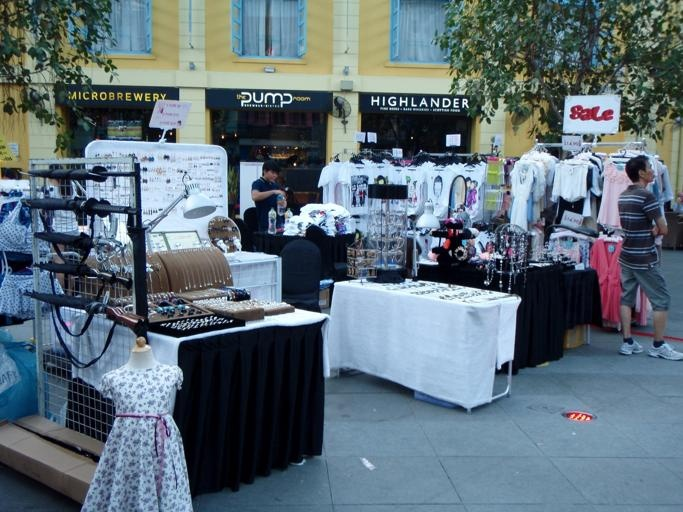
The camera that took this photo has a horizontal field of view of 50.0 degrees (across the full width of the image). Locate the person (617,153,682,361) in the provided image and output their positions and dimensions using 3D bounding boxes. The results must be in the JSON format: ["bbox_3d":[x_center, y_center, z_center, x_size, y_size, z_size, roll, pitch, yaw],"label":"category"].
[{"bbox_3d":[3.259,0.031,7.837,0.732,2.100,0.482,9,16,31],"label":"person"}]

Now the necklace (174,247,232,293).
[{"bbox_3d":[-1.201,0.117,6.298,0.319,0.308,0.445,8,9,39],"label":"necklace"}]

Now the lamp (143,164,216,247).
[{"bbox_3d":[-1.435,-0.386,6.298,0.637,0.771,0.328,2,-15,-12],"label":"lamp"}]

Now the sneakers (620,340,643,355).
[{"bbox_3d":[3.154,0.972,8.030,0.292,0.155,0.113,-5,7,-39],"label":"sneakers"}]

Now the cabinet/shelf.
[{"bbox_3d":[-1.929,-0.097,5.510,1.376,1.629,0.367,6,7,42],"label":"cabinet/shelf"}]

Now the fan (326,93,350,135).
[{"bbox_3d":[0.023,-2.854,14.609,0.384,0.676,0.183,2,-9,-29],"label":"fan"}]
